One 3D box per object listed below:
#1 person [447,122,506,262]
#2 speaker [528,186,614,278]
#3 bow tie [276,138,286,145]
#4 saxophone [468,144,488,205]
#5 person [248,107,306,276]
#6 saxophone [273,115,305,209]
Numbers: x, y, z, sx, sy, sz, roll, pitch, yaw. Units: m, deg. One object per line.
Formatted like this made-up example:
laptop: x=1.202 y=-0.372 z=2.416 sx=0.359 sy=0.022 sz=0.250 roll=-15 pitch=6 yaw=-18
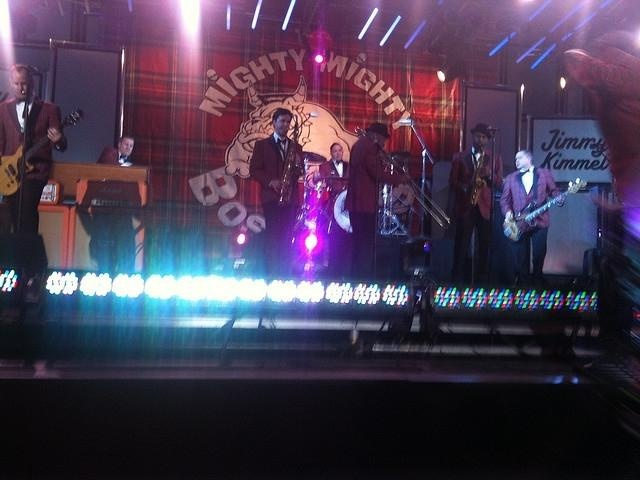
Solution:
person: x=1.714 y=-0.588 z=7.149 sx=0.364 sy=2.105 sz=0.408 roll=-3 pitch=9 yaw=-24
speaker: x=3.059 y=-0.070 z=7.810 sx=0.787 sy=1.815 sz=0.866 roll=0 pitch=10 yaw=-3
bow tie: x=-0.353 y=-0.913 z=5.876 sx=0.046 sy=0.053 sz=0.020 roll=2 pitch=43 yaw=14
saxophone: x=1.762 y=-0.713 z=7.166 sx=0.168 sy=0.574 sz=0.385 roll=5 pitch=14 yaw=14
person: x=-0.366 y=-0.457 z=5.767 sx=0.495 sy=1.388 sz=0.694 roll=-2 pitch=14 yaw=-13
saxophone: x=-0.288 y=-0.710 z=5.786 sx=0.170 sy=0.815 sz=0.180 roll=-5 pitch=13 yaw=-41
